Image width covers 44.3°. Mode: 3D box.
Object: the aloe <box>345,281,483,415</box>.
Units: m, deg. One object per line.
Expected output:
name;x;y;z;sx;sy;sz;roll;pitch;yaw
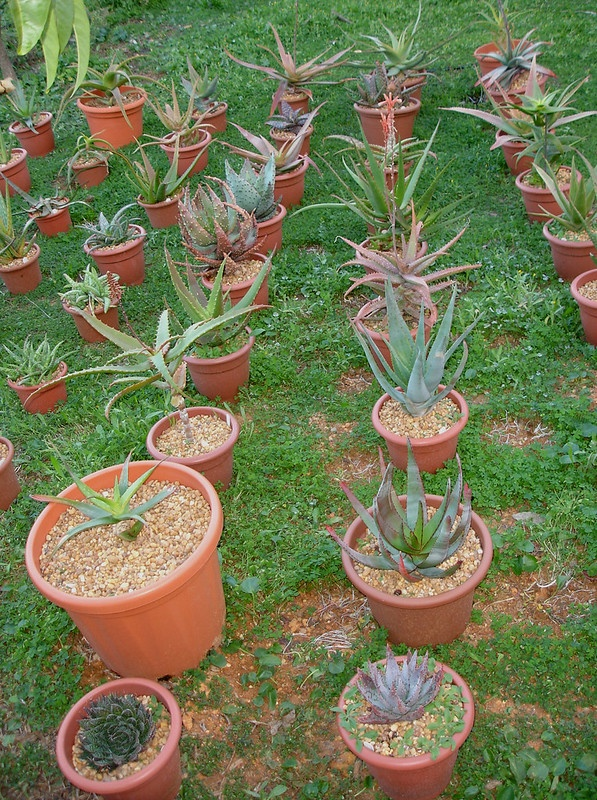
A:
aloe;0.488;-0.169;2.950;0.450;0.424;0.361;-3;3;-38

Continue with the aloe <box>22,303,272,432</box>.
aloe;-0.615;-0.159;2.928;0.712;0.344;0.721;20;47;40

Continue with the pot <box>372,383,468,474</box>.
pot;0.496;0.148;3.089;0.375;0.246;0.361;-4;35;3

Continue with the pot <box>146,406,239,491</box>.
pot;-0.437;0.178;3.096;0.382;0.258;0.367;-3;33;2

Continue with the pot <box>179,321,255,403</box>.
pot;-0.403;-0.210;3.630;0.352;0.258;0.336;-2;41;1

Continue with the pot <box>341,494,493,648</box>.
pot;0.425;0.557;2.483;0.523;0.357;0.503;-6;36;4

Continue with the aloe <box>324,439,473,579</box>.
aloe;0.333;0.335;2.333;0.420;0.525;0.407;-6;28;12

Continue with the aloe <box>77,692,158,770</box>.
aloe;-0.534;0.971;2.155;0.174;0.167;0.194;7;32;33

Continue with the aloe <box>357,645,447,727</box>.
aloe;0.288;0.813;2.093;0.234;0.144;0.209;-16;15;19

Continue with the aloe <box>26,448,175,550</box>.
aloe;-0.586;0.374;2.489;0.357;0.432;0.187;7;52;-46
